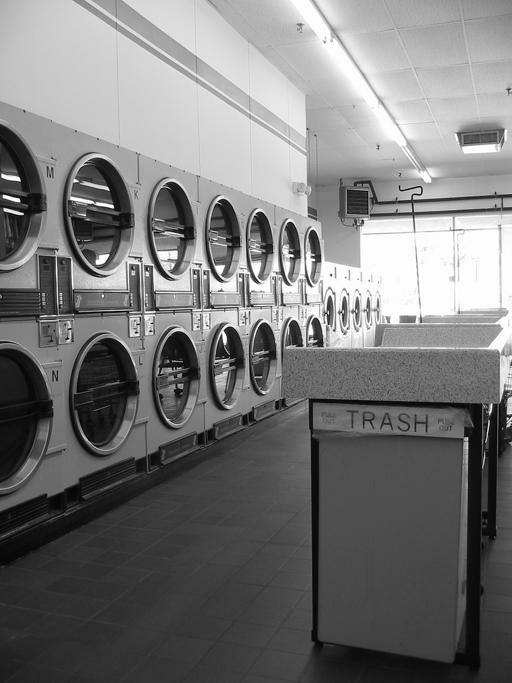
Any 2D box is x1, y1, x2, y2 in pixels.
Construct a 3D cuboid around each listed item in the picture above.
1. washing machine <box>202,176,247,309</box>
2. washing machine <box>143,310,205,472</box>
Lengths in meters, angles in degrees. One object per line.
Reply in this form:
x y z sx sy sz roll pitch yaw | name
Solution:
-0.348 -0.880 4.990 0.228 1.141 0.850 -1 -3 13 | washing machine
-0.681 0.430 4.127 0.275 1.103 0.841 -1 -3 9 | washing machine
